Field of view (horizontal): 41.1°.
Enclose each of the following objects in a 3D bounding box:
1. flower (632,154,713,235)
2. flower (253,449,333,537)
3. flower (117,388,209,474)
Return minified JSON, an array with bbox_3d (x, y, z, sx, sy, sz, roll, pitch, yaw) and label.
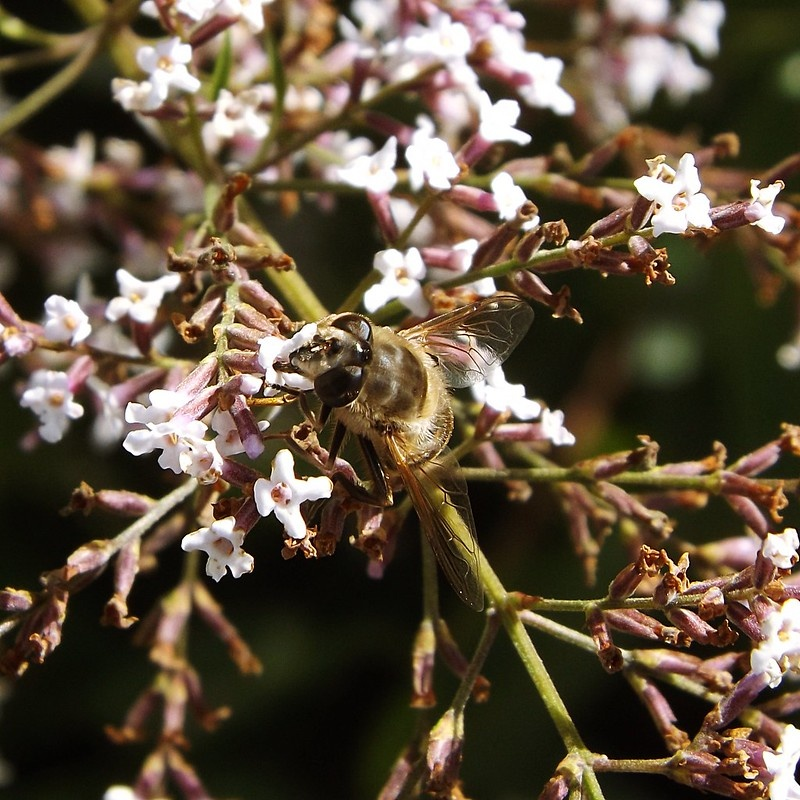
[{"bbox_3d":[0.505,-0.415,2.134,0.204,0.148,0.061,-10,-5,-25],"label":"flower"},{"bbox_3d":[-0.201,0.180,2.055,0.136,0.174,0.077,14,-32,-38],"label":"flower"},{"bbox_3d":[-0.450,0.057,2.053,0.219,0.139,0.080,-4,-6,-7],"label":"flower"}]
